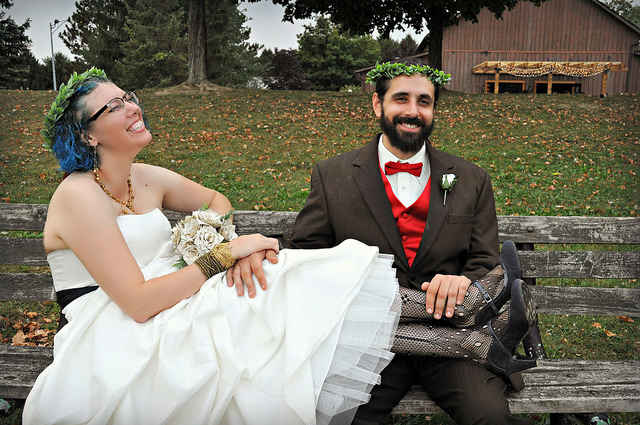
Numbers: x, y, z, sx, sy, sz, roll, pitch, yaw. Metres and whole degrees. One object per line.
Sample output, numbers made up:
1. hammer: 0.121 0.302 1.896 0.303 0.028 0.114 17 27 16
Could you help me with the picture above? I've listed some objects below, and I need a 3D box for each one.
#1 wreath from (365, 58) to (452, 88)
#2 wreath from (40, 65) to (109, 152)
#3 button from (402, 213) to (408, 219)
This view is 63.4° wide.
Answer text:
1. wreath: 0.912 -1.435 5.360 0.858 0.281 0.391 0 10 6
2. wreath: -2.285 -0.962 4.838 0.592 0.770 0.229 9 -15 22
3. button: 0.853 0.027 5.160 0.055 0.055 0.013 0 -2 -4
